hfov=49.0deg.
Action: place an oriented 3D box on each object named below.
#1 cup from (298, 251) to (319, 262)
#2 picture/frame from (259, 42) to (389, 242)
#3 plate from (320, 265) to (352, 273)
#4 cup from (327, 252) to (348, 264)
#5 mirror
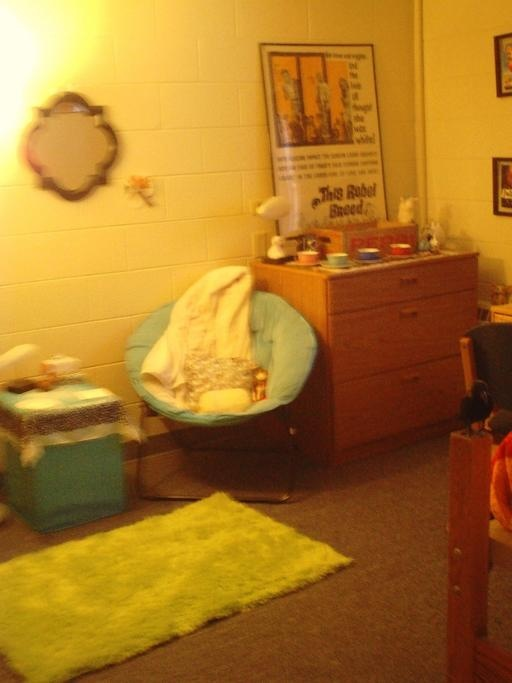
[{"bbox_3d":[0.260,-0.435,2.883,0.076,0.037,0.063,-2,6,-20],"label":"cup"},{"bbox_3d":[0.360,-1.163,3.251,1.062,1.416,0.023,-18,19,-28],"label":"picture/frame"},{"bbox_3d":[0.388,-0.350,2.732,0.154,0.041,0.213,0,9,7],"label":"plate"},{"bbox_3d":[0.414,-0.414,2.804,0.072,0.039,0.070,1,17,0],"label":"cup"},{"bbox_3d":[-0.864,-0.911,2.585,0.456,0.483,0.041,-24,29,-30],"label":"mirror"}]
